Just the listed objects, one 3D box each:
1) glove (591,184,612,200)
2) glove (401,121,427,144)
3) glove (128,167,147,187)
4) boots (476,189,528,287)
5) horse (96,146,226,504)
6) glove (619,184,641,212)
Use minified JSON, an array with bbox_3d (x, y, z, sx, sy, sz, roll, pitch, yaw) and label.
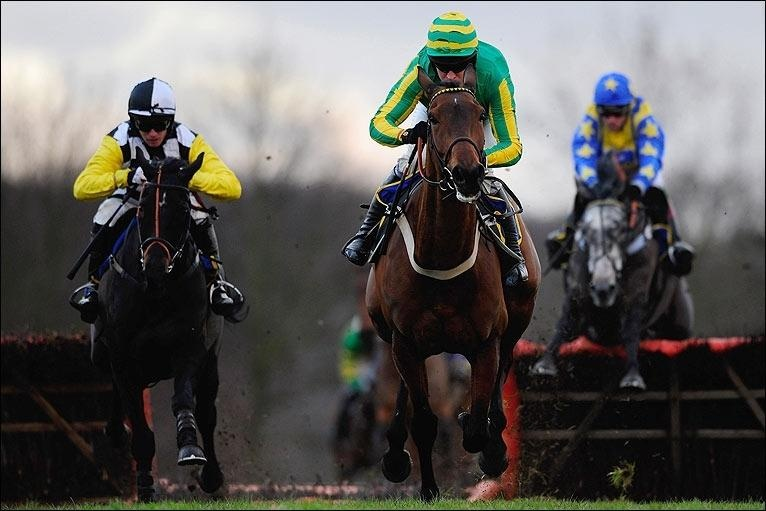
[{"bbox_3d":[2.483,-0.727,13.473,0.228,0.169,0.044,0,-3,15],"label":"glove"},{"bbox_3d":[0.330,-1.142,10.931,0.149,0.201,0.351,3,-4,-32],"label":"glove"},{"bbox_3d":[-2.523,-0.794,12.157,0.164,0.224,0.196,5,-14,-27],"label":"glove"},{"bbox_3d":[1.121,-0.139,11.474,0.213,0.887,0.468,-15,2,2],"label":"boots"},{"bbox_3d":[-2.229,0.762,12.403,1.431,3.579,1.285,2,-4,-27],"label":"horse"},{"bbox_3d":[2.780,-0.661,13.316,0.104,0.273,0.483,5,-7,11],"label":"glove"}]
